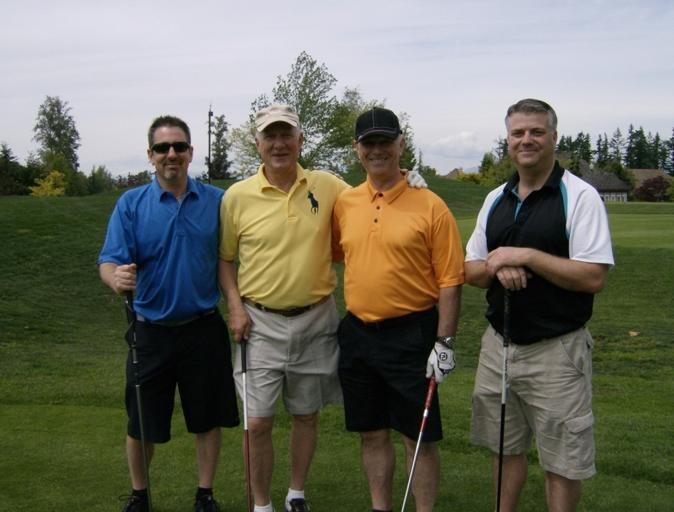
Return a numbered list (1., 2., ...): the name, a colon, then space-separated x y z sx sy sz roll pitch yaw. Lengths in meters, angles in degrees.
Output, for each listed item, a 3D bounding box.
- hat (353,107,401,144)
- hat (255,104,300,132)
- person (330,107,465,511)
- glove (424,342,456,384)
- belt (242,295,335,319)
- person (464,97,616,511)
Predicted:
1. hat: 0.309 -1.000 4.744 0.347 0.265 0.363 -3 6 3
2. hat: -0.472 -1.092 4.979 0.347 0.229 0.239 -4 6 -8
3. person: 0.488 0.413 4.878 0.996 3.081 0.544 -3 6 1
4. glove: 0.778 0.792 4.727 0.205 0.304 0.174 -2 6 8
5. belt: -0.417 0.411 5.041 0.677 0.151 0.164 -3 6 -2
6. person: 1.489 0.406 4.646 1.017 3.088 0.513 -1 6 21
